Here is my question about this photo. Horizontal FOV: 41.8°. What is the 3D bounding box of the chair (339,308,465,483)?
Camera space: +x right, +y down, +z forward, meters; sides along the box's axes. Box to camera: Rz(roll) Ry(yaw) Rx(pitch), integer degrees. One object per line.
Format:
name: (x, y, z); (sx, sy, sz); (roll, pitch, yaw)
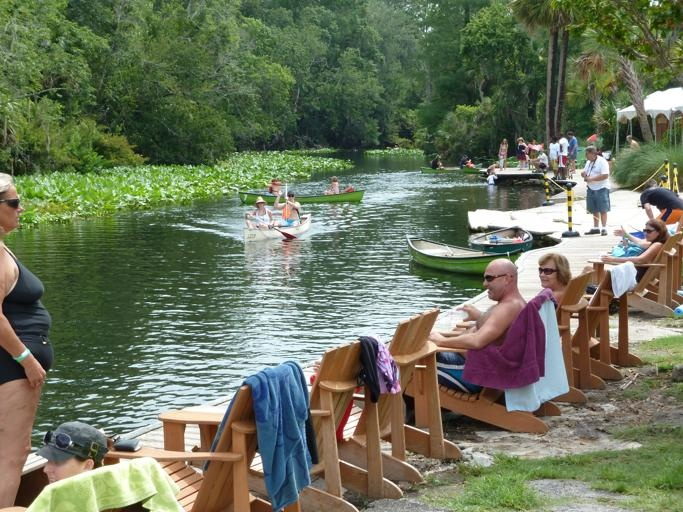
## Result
chair: (0.458, 1.363, 9.364); (1.559, 1.690, 1.394); (3, 5, 41)

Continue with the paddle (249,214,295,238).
paddle: (-1.885, -0.805, 26.175); (0.522, 0.374, 2.207); (-5, -1, 27)

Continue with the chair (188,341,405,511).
chair: (-0.490, 1.515, 8.243); (1.432, 1.331, 1.666); (-3, 2, -39)

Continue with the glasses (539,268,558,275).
glasses: (2.440, 0.164, 10.468); (0.204, 0.071, 0.061); (2, 6, 45)

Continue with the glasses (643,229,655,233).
glasses: (4.551, -0.377, 13.039); (0.095, 0.031, 0.081); (6, -6, -34)

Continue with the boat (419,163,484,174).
boat: (7.360, -5.473, 56.886); (3.711, 0.679, 4.958); (-1, 4, 16)

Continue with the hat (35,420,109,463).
hat: (-2.077, 1.411, 6.860); (0.433, 0.219, 0.301); (10, -2, -9)

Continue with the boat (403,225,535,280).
boat: (2.729, -0.064, 20.686); (2.095, 0.546, 1.517); (-4, 3, 38)

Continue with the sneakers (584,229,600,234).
sneakers: (6.166, -0.615, 21.665); (0.346, 0.134, 0.119); (-2, 3, -30)

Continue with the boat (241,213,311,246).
boat: (-1.654, -0.839, 26.517); (0.675, 0.484, 2.802); (-12, -1, 33)
